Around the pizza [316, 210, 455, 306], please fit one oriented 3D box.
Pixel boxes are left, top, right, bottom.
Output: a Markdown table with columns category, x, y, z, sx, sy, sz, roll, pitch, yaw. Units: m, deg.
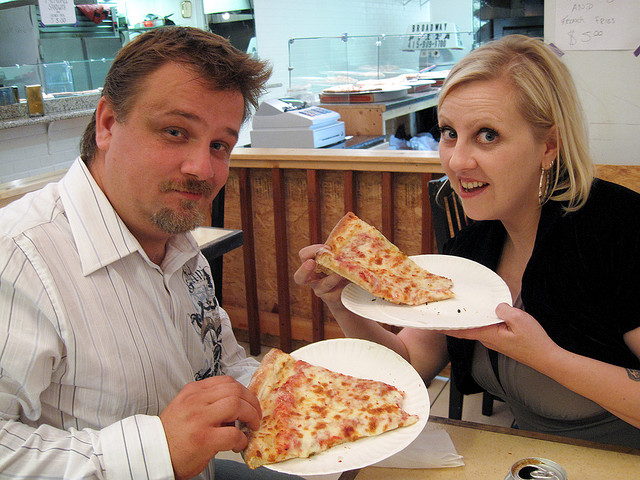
| category | x | y | z | sx | sy | sz | roll | pitch | yaw |
| --- | --- | --- | --- | --- | --- | --- | --- | --- | --- |
| pizza | 0.218 | 0.091 | 1.742 | 0.446 | 0.095 | 0.301 | 22 | 32 | 32 |
